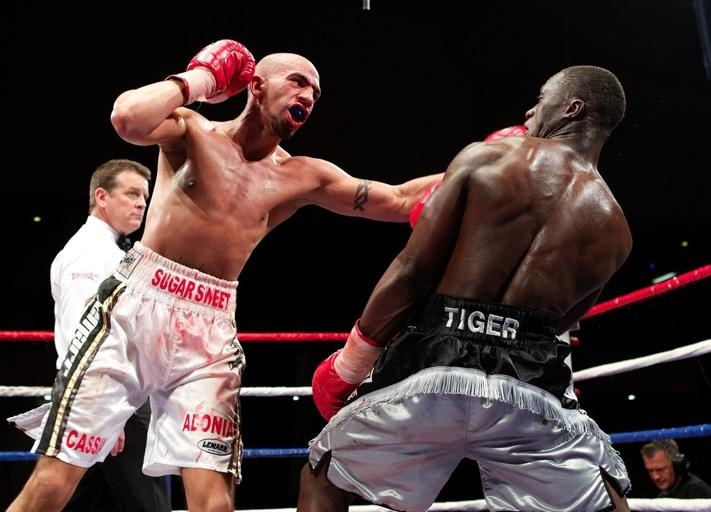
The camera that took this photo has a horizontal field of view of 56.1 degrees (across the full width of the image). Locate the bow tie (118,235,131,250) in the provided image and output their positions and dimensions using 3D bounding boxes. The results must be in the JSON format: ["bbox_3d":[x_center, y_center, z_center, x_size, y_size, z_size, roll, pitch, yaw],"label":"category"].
[{"bbox_3d":[-1.308,-0.078,3.786,0.085,0.066,0.121,5,8,-13],"label":"bow tie"}]

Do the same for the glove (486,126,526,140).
[{"bbox_3d":[0.640,-0.506,2.831,0.133,0.036,0.135,-20,2,-40],"label":"glove"}]
